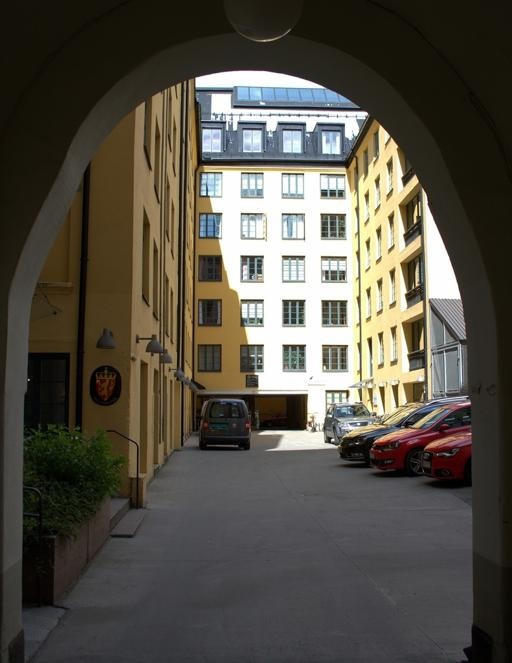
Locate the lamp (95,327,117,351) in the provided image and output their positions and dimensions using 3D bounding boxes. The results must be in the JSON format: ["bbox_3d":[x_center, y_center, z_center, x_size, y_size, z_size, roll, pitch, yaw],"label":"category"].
[{"bbox_3d":[-2.562,0.130,10.176,0.233,0.438,0.442,1,-11,0],"label":"lamp"}]

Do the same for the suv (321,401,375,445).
[{"bbox_3d":[4.078,3.898,26.513,1.138,2.000,3.150,0,-12,-5],"label":"suv"}]
